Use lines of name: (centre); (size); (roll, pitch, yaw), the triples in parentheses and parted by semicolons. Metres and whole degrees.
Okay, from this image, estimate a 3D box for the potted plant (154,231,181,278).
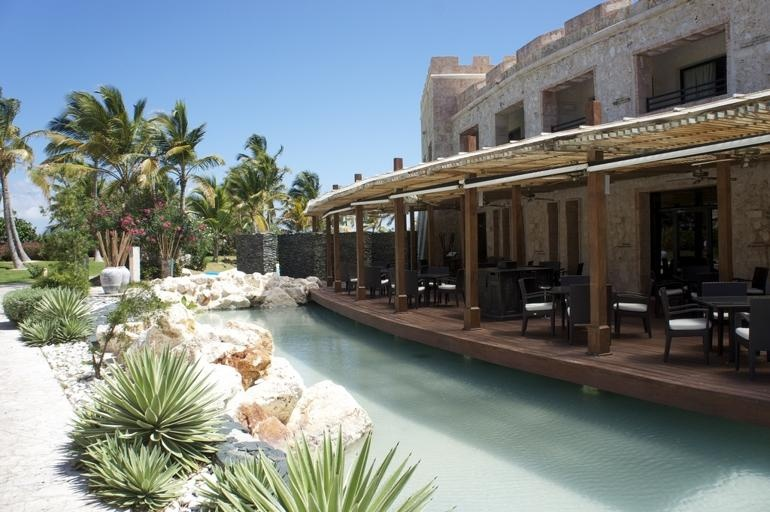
potted plant: (-9.847, -0.193, 26.120); (0.892, 2.389, 1.409); (-3, 0, 3)
